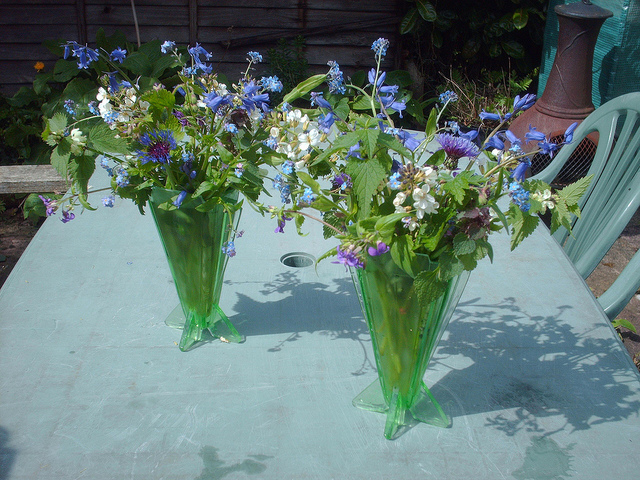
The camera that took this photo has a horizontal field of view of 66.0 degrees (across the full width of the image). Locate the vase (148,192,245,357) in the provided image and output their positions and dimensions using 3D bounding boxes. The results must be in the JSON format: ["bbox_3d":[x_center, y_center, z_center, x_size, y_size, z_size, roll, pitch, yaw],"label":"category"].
[{"bbox_3d":[-0.329,0.101,1.297,0.229,0.386,0.239,20,37,27],"label":"vase"}]

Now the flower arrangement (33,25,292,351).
[{"bbox_3d":[-0.243,-0.075,1.243,0.422,0.624,0.404,-2,-2,-19],"label":"flower arrangement"}]

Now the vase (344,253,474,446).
[{"bbox_3d":[0.191,0.187,1.121,0.240,0.444,0.269,-9,16,-14],"label":"vase"}]

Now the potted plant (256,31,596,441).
[{"bbox_3d":[0.165,0.084,1.066,0.423,0.533,0.417,2,0,-43],"label":"potted plant"}]

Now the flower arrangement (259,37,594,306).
[{"bbox_3d":[0.169,-0.044,1.145,0.494,0.528,0.635,-15,21,-18],"label":"flower arrangement"}]
